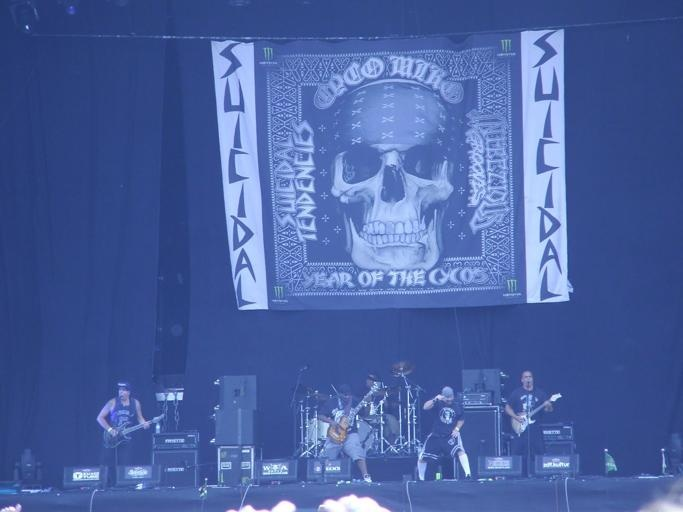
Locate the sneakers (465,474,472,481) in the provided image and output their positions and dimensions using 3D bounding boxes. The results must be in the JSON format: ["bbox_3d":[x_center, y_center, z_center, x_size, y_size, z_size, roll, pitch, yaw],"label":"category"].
[{"bbox_3d":[1.834,3.193,23.344,0.100,0.044,0.142,0,-3,1],"label":"sneakers"}]

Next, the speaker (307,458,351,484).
[{"bbox_3d":[-0.175,2.975,22.477,0.545,0.326,0.387,0,-5,1],"label":"speaker"}]

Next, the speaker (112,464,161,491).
[{"bbox_3d":[-2.854,3.099,22.739,0.600,0.407,0.239,-1,-23,-4],"label":"speaker"}]

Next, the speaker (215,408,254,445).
[{"bbox_3d":[-1.518,2.451,23.154,0.519,0.610,0.250,3,-23,-12],"label":"speaker"}]

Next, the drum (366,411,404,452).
[{"bbox_3d":[0.652,2.651,24.198,0.492,0.528,0.516,-1,-7,16],"label":"drum"}]

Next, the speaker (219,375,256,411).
[{"bbox_3d":[-1.480,1.987,23.403,0.460,0.479,0.469,3,-9,-20],"label":"speaker"}]

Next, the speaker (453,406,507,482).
[{"bbox_3d":[2.037,2.783,24.466,0.872,1.671,0.908,-1,-5,4],"label":"speaker"}]

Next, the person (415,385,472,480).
[{"bbox_3d":[1.526,2.663,23.881,0.815,1.814,0.982,3,-32,-3],"label":"person"}]

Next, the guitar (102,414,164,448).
[{"bbox_3d":[-3.098,2.596,24.011,0.918,0.424,0.326,-5,-23,5],"label":"guitar"}]

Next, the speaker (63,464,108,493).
[{"bbox_3d":[-3.596,3.118,22.793,0.596,0.356,0.182,0,-23,-5],"label":"speaker"}]

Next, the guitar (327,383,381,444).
[{"bbox_3d":[0.201,2.321,23.989,0.399,1.215,0.174,38,-17,16],"label":"guitar"}]

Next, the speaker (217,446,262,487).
[{"bbox_3d":[-1.482,2.976,22.921,0.507,0.555,0.538,0,-8,-3],"label":"speaker"}]

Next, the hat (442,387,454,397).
[{"bbox_3d":[1.584,2.010,23.980,0.114,0.146,0.149,2,5,-2],"label":"hat"}]
